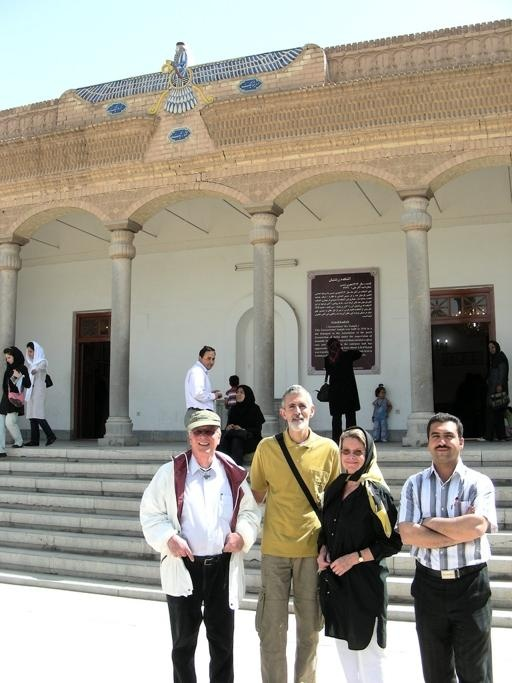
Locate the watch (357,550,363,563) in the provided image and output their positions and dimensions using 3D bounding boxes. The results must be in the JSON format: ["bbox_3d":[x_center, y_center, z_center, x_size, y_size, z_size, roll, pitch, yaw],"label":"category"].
[{"bbox_3d":[0.487,1.016,3.177,0.019,0.053,0.024,-1,-3,9],"label":"watch"}]

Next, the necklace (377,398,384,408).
[{"bbox_3d":[1.993,0.985,10.895,0.134,0.125,0.087,-4,-22,40],"label":"necklace"}]

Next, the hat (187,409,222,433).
[{"bbox_3d":[-0.263,0.398,3.398,0.150,0.108,0.261,0,-3,-7],"label":"hat"}]

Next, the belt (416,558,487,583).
[{"bbox_3d":[0.854,1.040,3.019,0.316,0.126,0.152,-2,-3,19],"label":"belt"}]

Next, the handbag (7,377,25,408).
[{"bbox_3d":[-3.276,0.702,9.264,0.157,0.370,0.239,-4,-7,36],"label":"handbag"}]

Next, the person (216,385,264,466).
[{"bbox_3d":[-0.174,0.974,7.371,0.472,0.960,0.583,-1,-3,24],"label":"person"}]

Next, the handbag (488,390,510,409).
[{"bbox_3d":[3.322,0.809,9.434,0.384,0.348,0.203,1,-14,15],"label":"handbag"}]

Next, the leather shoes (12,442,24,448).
[{"bbox_3d":[-3.270,1.422,9.301,0.157,0.059,0.066,0,4,25],"label":"leather shoes"}]

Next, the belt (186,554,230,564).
[{"bbox_3d":[-0.230,1.060,3.289,0.242,0.053,0.050,0,-3,-19],"label":"belt"}]
